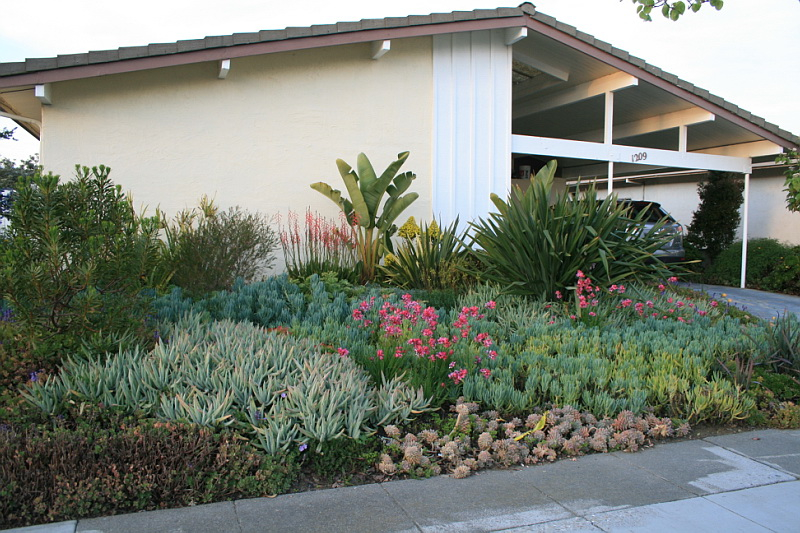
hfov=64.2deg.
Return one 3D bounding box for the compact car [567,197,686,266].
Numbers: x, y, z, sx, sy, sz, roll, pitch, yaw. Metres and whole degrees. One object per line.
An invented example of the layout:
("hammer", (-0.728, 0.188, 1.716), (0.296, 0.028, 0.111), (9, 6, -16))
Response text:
("compact car", (3.586, -0.518, 10.131), (1.153, 1.025, 2.472), (0, 11, -15))
